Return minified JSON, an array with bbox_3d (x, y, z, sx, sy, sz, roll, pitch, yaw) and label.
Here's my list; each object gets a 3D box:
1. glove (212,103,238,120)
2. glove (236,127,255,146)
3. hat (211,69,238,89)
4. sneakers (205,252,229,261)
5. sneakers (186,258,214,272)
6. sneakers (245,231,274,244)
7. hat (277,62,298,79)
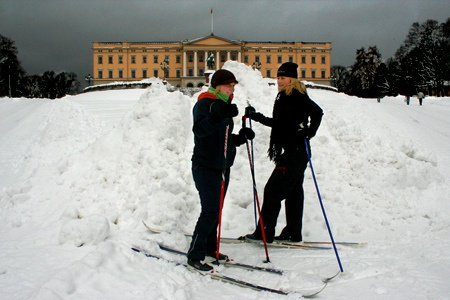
[{"bbox_3d":[-0.042,-0.679,6.185,0.446,0.339,0.533,2,7,-13],"label":"glove"},{"bbox_3d":[0.380,-0.270,6.802,0.381,0.260,0.166,-33,-8,13],"label":"glove"},{"bbox_3d":[-0.035,-1.279,6.337,0.328,0.310,0.284,-12,12,5],"label":"hat"},{"bbox_3d":[-0.145,1.929,6.613,0.422,0.205,0.161,-1,0,6],"label":"sneakers"},{"bbox_3d":[-0.446,2.021,6.198,0.416,0.220,0.180,4,1,10],"label":"sneakers"},{"bbox_3d":[0.689,1.726,7.186,0.581,0.321,0.218,-2,0,11],"label":"sneakers"},{"bbox_3d":[1.261,-1.643,7.267,0.346,0.330,0.274,10,0,-17],"label":"hat"}]
